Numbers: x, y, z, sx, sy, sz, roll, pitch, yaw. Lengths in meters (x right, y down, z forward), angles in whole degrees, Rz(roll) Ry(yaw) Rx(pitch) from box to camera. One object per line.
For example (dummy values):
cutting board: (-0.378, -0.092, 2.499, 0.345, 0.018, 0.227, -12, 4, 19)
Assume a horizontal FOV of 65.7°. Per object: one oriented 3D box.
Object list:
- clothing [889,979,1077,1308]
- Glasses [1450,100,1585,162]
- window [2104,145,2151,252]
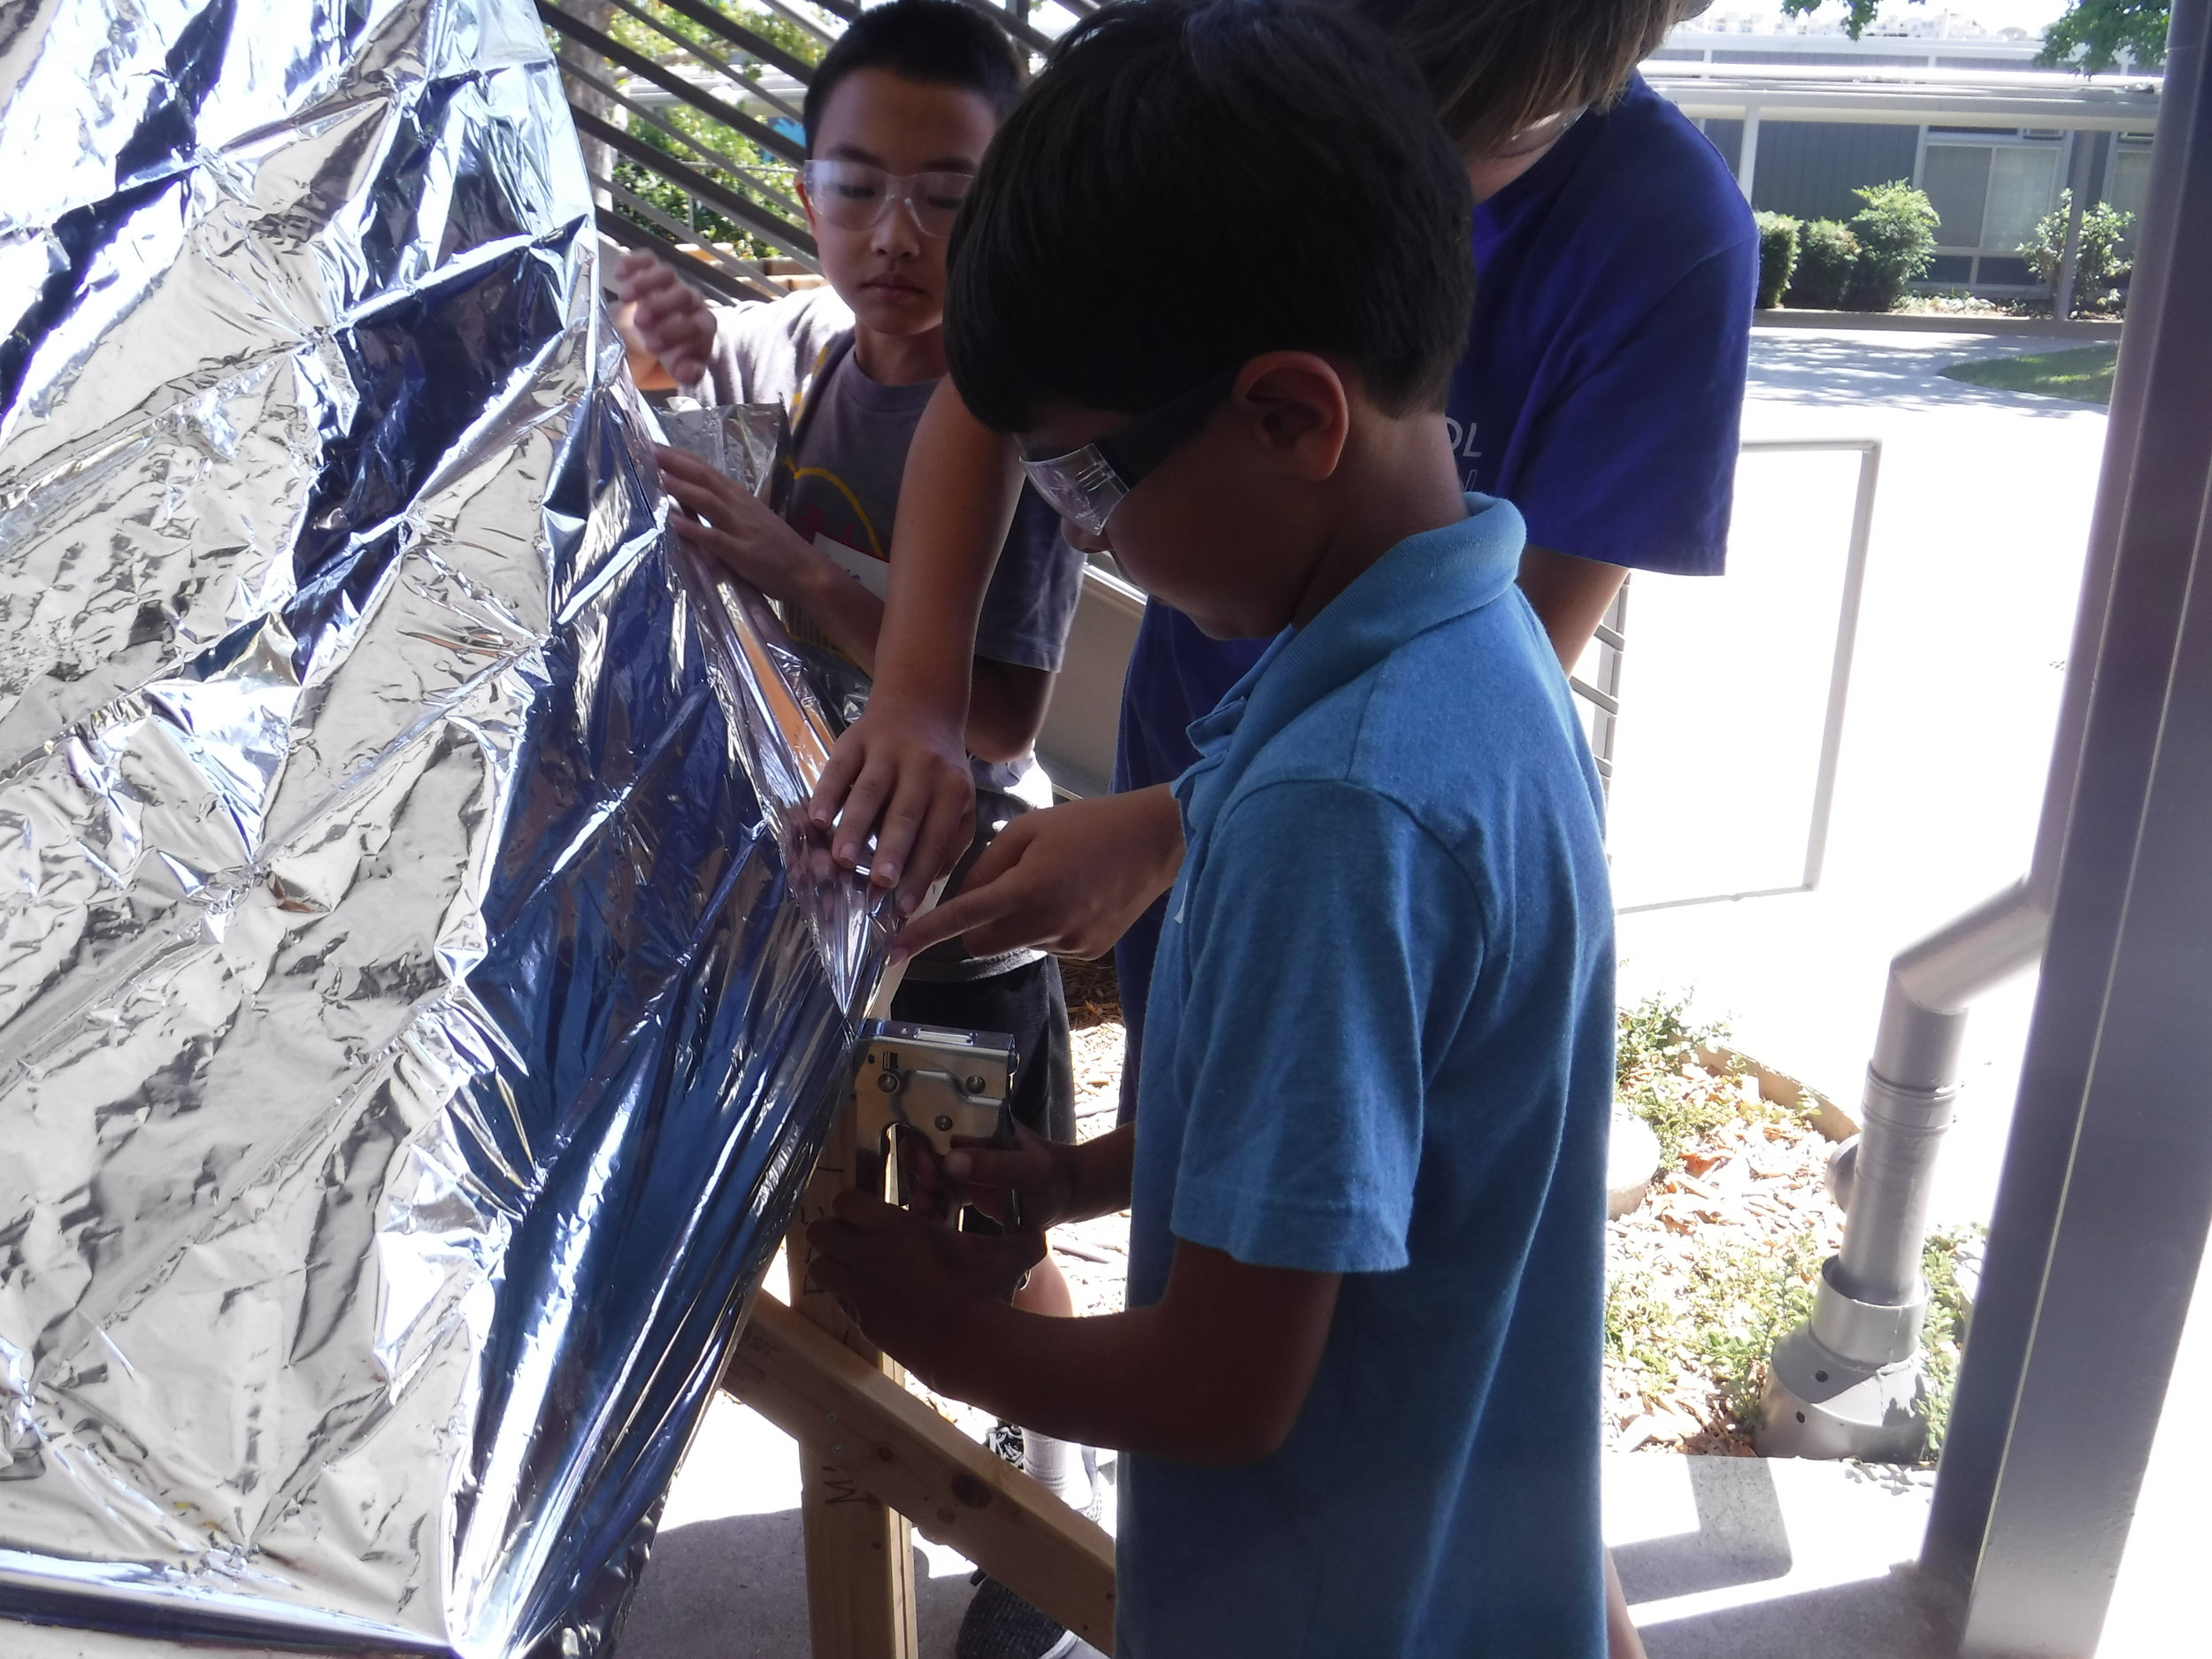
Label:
clothing: (-0.134, 0.335, 1.847, 0.304, 0.352, 0.082, 12, 10, 33)
Glasses: (0.310, -0.501, 1.229, 0.049, 0.020, 0.071, -8, 16, 33)
window: (6.113, -3.827, 10.263, 0.203, 0.696, 0.922, 5, 9, 26)
